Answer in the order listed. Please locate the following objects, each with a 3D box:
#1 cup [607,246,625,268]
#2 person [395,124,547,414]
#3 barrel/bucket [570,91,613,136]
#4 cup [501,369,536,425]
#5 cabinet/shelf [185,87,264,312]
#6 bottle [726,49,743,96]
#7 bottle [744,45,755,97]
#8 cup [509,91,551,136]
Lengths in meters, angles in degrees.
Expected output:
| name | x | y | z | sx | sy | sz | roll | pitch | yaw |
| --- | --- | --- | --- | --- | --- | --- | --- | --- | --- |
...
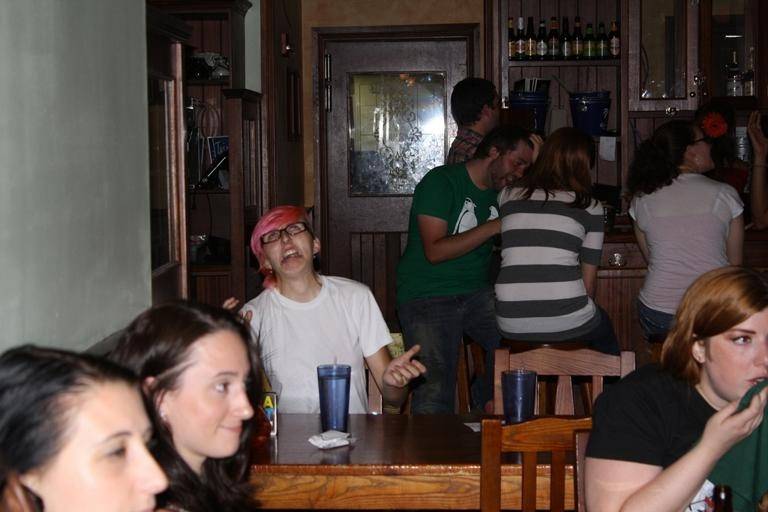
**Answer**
| name | x | y | z | sx | sy | sz | roll | pitch | yaw |
| --- | --- | --- | --- | --- | --- | --- | --- | --- | --- |
| cup | 1.465 | 0.017 | 4.063 | 0.097 | 0.111 | 0.126 | 0 | 0 | -1 |
| person | 0.420 | 0.209 | 3.280 | 0.645 | 1.756 | 0.617 | 2 | 14 | 4 |
| barrel/bucket | 1.525 | -1.068 | 4.675 | 0.319 | 0.340 | 0.338 | -4 | 20 | 1 |
| cup | 0.417 | 0.440 | 1.986 | 0.105 | 0.161 | 0.109 | -1 | 4 | 0 |
| cabinet/shelf | -1.239 | -0.457 | 4.611 | 0.536 | 1.454 | 0.730 | 11 | 27 | -3 |
| bottle | 2.587 | -1.336 | 4.682 | 0.123 | 0.331 | 0.030 | -2 | 5 | -9 |
| bottle | 2.700 | -1.362 | 4.691 | 0.091 | 0.355 | 0.033 | -2 | 5 | -7 |
| cup | 1.027 | -1.009 | 4.615 | 0.318 | 0.322 | 0.295 | 0 | 2 | 0 |
